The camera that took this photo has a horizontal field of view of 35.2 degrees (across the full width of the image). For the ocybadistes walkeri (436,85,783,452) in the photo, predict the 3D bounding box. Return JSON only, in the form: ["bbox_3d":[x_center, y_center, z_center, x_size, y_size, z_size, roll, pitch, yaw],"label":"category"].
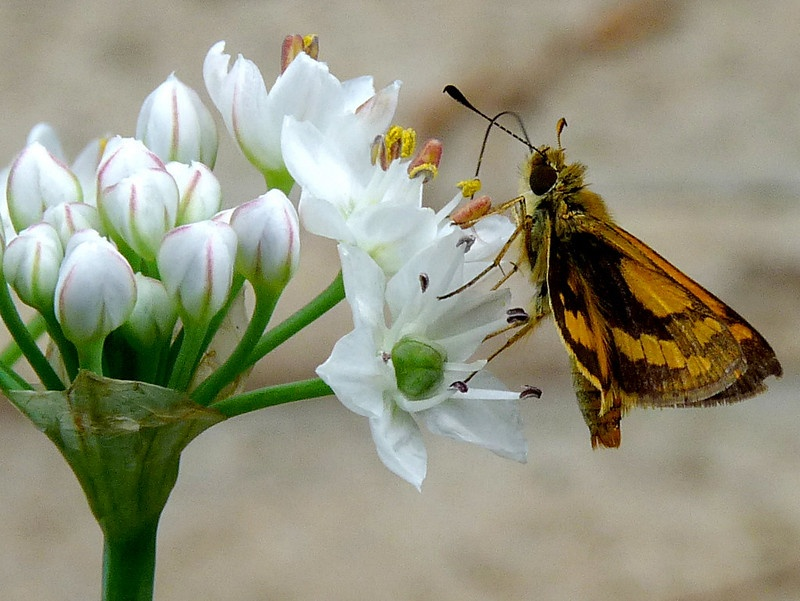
[{"bbox_3d":[0.435,-0.048,2.497,0.565,0.898,0.460,0,10,1],"label":"ocybadistes walkeri"}]
